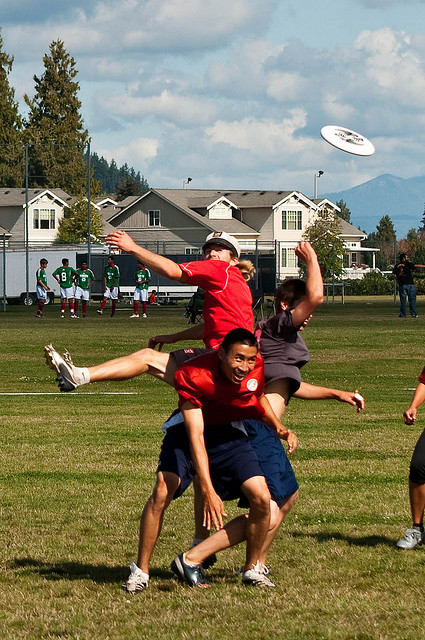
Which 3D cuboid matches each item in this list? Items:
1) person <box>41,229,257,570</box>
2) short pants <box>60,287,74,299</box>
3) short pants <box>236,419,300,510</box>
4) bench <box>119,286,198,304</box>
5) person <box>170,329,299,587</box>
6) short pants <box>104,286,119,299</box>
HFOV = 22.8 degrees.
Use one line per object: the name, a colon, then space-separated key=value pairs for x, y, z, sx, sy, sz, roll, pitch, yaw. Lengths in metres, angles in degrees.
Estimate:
person: x=-0.312 y=0.360 z=5.854 sx=1.195 sy=1.706 sz=0.880 roll=7 pitch=-17 yaw=-25
short pants: x=-4.634 y=-0.892 z=33.599 sx=0.585 sy=0.409 sz=0.316 roll=2 pitch=7 yaw=9
short pants: x=0.305 y=0.736 z=5.604 sx=0.308 sy=0.492 sz=0.212 roll=-9 pitch=1 yaw=-1
bench: x=-2.392 y=-1.139 z=45.277 sx=3.151 sy=0.697 sz=1.805 roll=0 pitch=0 yaw=-5
person: x=0.099 y=0.713 z=5.377 sx=0.563 sy=1.348 sz=0.813 roll=0 pitch=0 yaw=9
short pants: x=-3.141 y=-0.839 z=32.382 sx=0.476 sy=0.536 sz=0.325 roll=4 pitch=6 yaw=21
